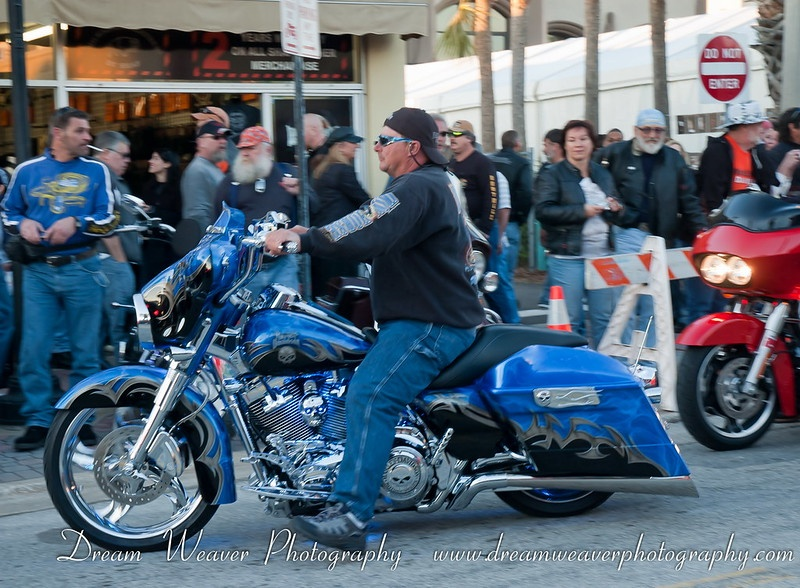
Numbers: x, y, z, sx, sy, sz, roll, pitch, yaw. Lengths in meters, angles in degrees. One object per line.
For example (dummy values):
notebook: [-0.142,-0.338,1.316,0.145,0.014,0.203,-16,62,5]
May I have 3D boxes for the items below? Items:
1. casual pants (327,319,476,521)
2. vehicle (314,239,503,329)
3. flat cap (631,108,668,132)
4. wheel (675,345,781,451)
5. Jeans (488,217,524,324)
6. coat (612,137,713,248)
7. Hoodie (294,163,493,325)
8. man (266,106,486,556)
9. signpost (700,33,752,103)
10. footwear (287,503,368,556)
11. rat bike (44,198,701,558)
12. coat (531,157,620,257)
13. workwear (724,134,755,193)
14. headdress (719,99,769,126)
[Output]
casual pants: [-0.027,0.567,4.609,0.610,1.219,0.370,13,-3,-12]
vehicle: [0.140,-0.066,6.621,1.294,0.640,0.722,-3,10,-14]
flat cap: [2.406,-1.623,8.228,0.314,0.149,0.288,1,1,-32]
wheel: [2.376,0.737,6.268,0.990,0.861,0.287,2,6,-13]
Jeans: [1.108,-0.177,9.722,0.386,1.220,0.374,-5,8,-7]
coat: [2.370,-1.009,8.481,1.385,0.952,0.468,4,11,2]
Hoodie: [-0.005,-0.222,4.749,0.974,0.754,1.124,3,-1,9]
man: [-0.411,0.164,4.754,1.763,2.248,1.272,-2,1,3]
signpost: [3.558,-2.472,9.568,0.516,0.739,0.299,1,11,15]
footwear: [-0.364,1.195,4.497,0.225,0.239,0.435,-12,-29,43]
rat bike: [-0.311,0.647,5.383,3.875,1.606,1.611,0,-3,-4]
coat: [1.664,-0.841,8.165,1.083,0.868,0.594,-6,19,-32]
workwear: [3.419,-1.313,8.744,0.301,0.549,0.274,2,11,17]
headdress: [3.434,-1.780,8.690,0.400,0.140,0.344,-4,7,-1]
